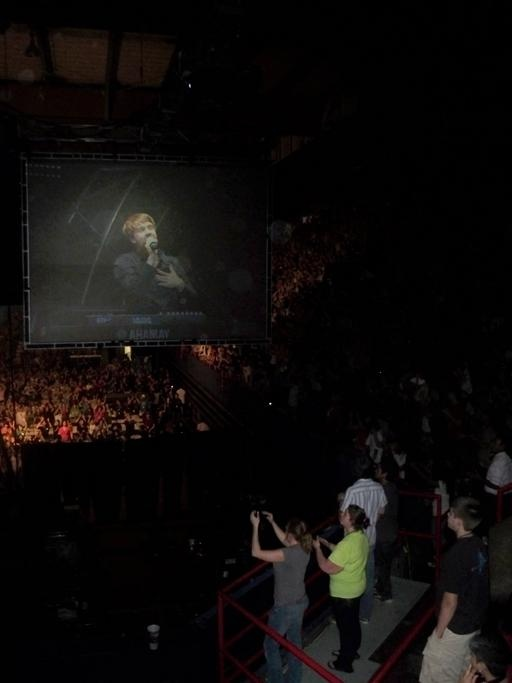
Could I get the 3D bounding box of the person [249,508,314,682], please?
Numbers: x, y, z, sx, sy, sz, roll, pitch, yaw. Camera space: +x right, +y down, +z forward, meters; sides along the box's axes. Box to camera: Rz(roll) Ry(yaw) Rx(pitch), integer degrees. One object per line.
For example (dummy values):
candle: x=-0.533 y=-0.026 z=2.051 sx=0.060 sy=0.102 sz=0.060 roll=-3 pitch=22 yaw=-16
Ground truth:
person: x=0.181 y=1.935 z=4.167 sx=0.420 sy=1.505 sz=0.790 roll=0 pitch=3 yaw=-1

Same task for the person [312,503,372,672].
person: x=0.625 y=1.804 z=4.284 sx=0.387 sy=1.320 sz=0.520 roll=0 pitch=3 yaw=12

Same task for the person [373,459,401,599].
person: x=1.055 y=1.612 z=5.048 sx=0.309 sy=1.252 sz=0.316 roll=2 pitch=10 yaw=13
